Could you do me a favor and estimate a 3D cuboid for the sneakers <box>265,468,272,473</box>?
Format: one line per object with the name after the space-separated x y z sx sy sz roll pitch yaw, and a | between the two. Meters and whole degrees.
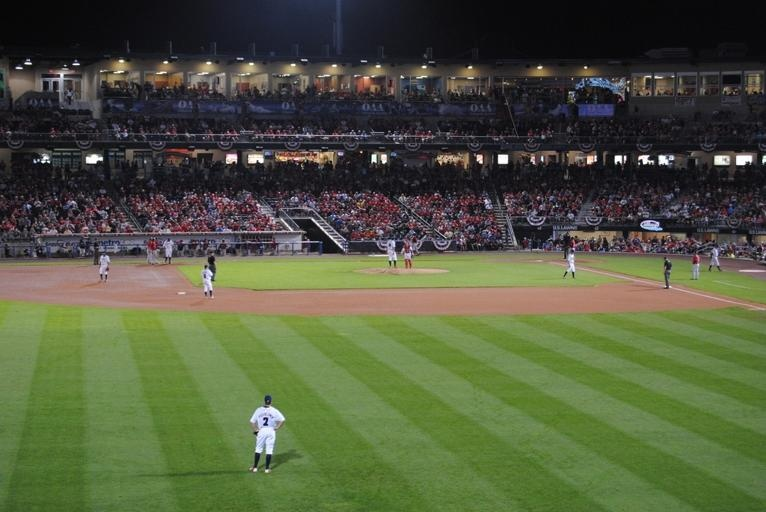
-3.338 6.205 24.938 0.231 0.134 0.074 -1 8 -5 | sneakers

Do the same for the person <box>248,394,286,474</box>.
-3.424 5.083 24.866 0.755 2.305 0.983 -9 11 -43 | person

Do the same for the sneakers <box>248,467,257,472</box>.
-3.760 6.186 24.995 0.269 0.101 0.110 4 5 20 | sneakers
